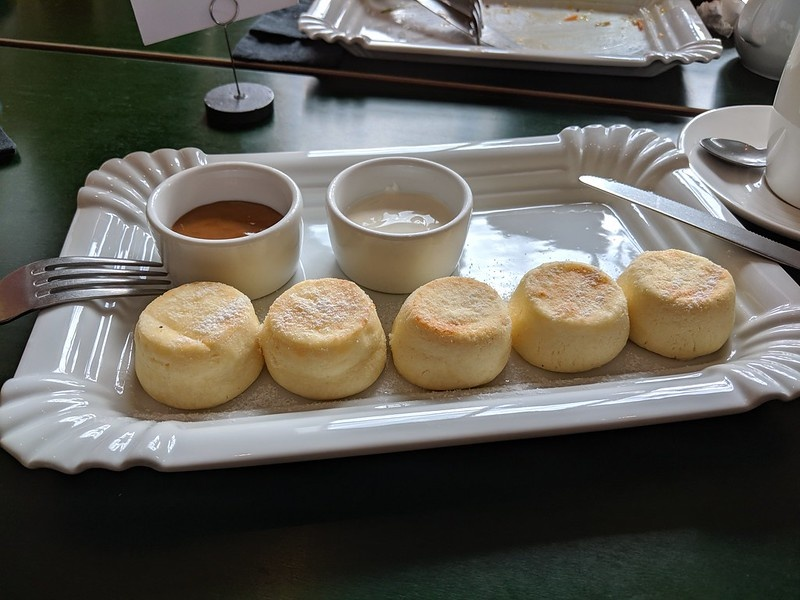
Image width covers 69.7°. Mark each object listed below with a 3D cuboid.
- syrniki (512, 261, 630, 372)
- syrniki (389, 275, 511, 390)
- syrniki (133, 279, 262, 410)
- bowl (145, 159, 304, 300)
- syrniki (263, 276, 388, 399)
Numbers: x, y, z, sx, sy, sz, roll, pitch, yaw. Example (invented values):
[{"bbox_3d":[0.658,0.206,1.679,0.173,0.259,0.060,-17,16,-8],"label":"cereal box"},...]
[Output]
[{"bbox_3d":[0.285,0.013,0.977,0.213,0.084,0.193,-13,49,-12],"label":"syrniki"},{"bbox_3d":[0.080,0.051,0.923,0.189,0.091,0.177,-2,48,-2],"label":"syrniki"},{"bbox_3d":[-0.312,0.068,0.897,0.186,0.092,0.191,-3,48,-4],"label":"syrniki"},{"bbox_3d":[-0.322,-0.124,1.049,0.274,0.150,0.251,5,43,-5],"label":"bowl"},{"bbox_3d":[-0.114,0.060,0.876,0.184,0.083,0.170,-2,48,-5],"label":"syrniki"}]
